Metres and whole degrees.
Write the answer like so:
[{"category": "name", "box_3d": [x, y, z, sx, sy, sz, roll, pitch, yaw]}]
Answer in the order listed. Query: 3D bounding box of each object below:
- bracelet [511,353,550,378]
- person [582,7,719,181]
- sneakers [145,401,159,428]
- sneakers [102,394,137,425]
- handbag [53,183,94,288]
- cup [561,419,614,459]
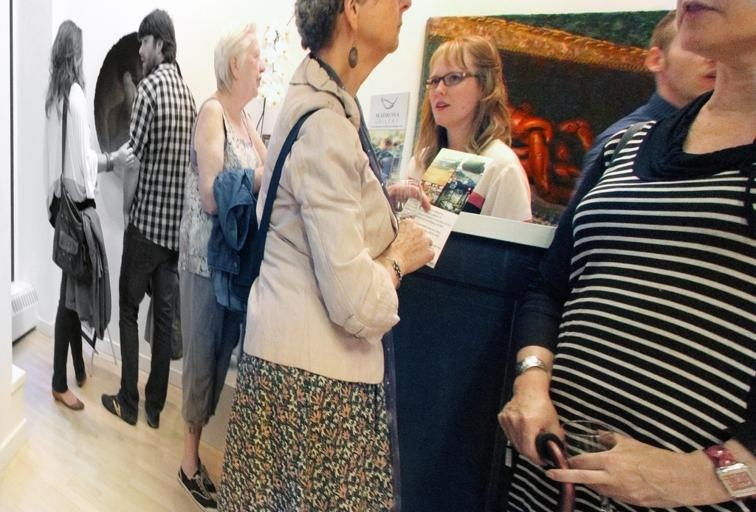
[{"category": "bracelet", "box_3d": [0.468, 0.338, 1.603, 0.091, 0.089, 0.058, 12, 35, -17]}, {"category": "person", "box_3d": [1.325, -0.744, 2.547, 0.466, 0.796, 0.942, -9, 5, 24]}, {"category": "sneakers", "box_3d": [-1.316, 0.935, 3.019, 0.060, 0.074, 0.172, -8, 56, -34]}, {"category": "sneakers", "box_3d": [-1.523, 0.920, 3.065, 0.202, 0.084, 0.068, 31, 26, 16]}, {"category": "handbag", "box_3d": [-1.801, -0.132, 3.038, 0.184, 0.591, 0.269, -5, 22, -33]}, {"category": "cup", "box_3d": [0.581, 0.513, 1.433, 0.135, 0.092, 0.064, 7, 18, 1]}]
